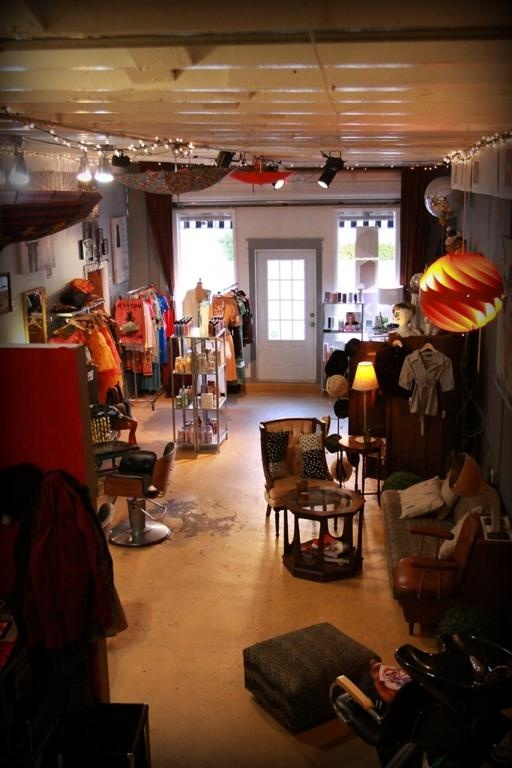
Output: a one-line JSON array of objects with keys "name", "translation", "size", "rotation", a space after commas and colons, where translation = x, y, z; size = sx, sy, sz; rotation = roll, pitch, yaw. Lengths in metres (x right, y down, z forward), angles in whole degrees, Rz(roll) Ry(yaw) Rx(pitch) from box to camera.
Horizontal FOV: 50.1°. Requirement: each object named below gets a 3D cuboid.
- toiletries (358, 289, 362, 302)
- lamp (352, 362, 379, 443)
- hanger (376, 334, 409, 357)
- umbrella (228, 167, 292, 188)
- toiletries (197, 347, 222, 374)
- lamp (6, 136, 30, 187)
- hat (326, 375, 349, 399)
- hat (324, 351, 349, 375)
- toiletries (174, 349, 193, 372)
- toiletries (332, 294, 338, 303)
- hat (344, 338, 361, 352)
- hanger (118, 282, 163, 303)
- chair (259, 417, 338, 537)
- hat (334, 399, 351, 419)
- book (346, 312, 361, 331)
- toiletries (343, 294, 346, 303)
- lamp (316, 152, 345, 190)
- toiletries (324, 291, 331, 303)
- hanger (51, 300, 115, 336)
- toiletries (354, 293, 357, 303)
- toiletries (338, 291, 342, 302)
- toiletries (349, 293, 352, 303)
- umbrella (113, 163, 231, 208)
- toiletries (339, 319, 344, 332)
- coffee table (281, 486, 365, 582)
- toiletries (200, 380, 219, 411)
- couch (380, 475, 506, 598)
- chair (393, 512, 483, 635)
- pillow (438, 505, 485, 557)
[{"name": "toiletries", "translation": [1.991, -1.675, 10.494], "size": [0.100, 0.264, 0.222], "rotation": [1, 11, 9]}, {"name": "lamp", "translation": [1.412, 0.195, 7.057], "size": [0.312, 0.979, 0.646], "rotation": [1, 11, 13]}, {"name": "hanger", "translation": [1.736, -0.501, 7.002], "size": [0.386, 0.251, 0.369], "rotation": [2, 12, 14]}, {"name": "umbrella", "translation": [0.023, -2.258, 5.859], "size": [0.655, 0.159, 0.401], "rotation": [-8, 13, -29]}, {"name": "toiletries", "translation": [-0.726, -0.356, 8.663], "size": [0.370, 0.436, 0.305], "rotation": [1, 9, 9]}, {"name": "lamp", "translation": [-2.458, -2.270, 5.628], "size": [0.167, 0.477, 0.406], "rotation": [-5, 12, -19]}, {"name": "hat", "translation": [1.114, 0.039, 7.388], "size": [0.290, 0.333, 0.243], "rotation": [-1, 11, -1]}, {"name": "hat", "translation": [1.133, -0.279, 7.741], "size": [0.315, 0.394, 0.382], "rotation": [0, 11, 7]}, {"name": "toiletries", "translation": [-1.116, -0.371, 8.740], "size": [0.282, 0.375, 0.372], "rotation": [4, 10, 22]}, {"name": "toiletries", "translation": [1.545, -1.665, 10.657], "size": [0.122, 0.186, 0.083], "rotation": [5, 13, 28]}, {"name": "hat", "translation": [1.291, -0.508, 7.343], "size": [0.208, 0.187, 0.112], "rotation": [3, 12, 19]}, {"name": "hanger", "translation": [-2.225, -1.747, 10.558], "size": [0.164, 0.309, 0.517], "rotation": [3, 34, 34]}, {"name": "chair", "translation": [0.429, 1.069, 6.619], "size": [1.057, 1.622, 1.073], "rotation": [-3, 6, -14]}, {"name": "hat", "translation": [1.203, 0.351, 7.624], "size": [0.240, 0.251, 0.064], "rotation": [-21, 13, -21]}, {"name": "book", "translation": [1.876, -1.180, 10.521], "size": [0.325, 0.363, 0.081], "rotation": [1, 0, 11]}, {"name": "toiletries", "translation": [1.707, -1.651, 10.569], "size": [0.087, 0.158, 0.029], "rotation": [1, 11, 9]}, {"name": "lamp", "translation": [0.782, -2.257, 5.763], "size": [0.209, 0.343, 0.474], "rotation": [0, 12, 5]}, {"name": "toiletries", "translation": [1.398, -1.694, 10.698], "size": [0.154, 0.318, 0.163], "rotation": [2, 3, 3]}, {"name": "hanger", "translation": [-2.573, -0.992, 8.111], "size": [0.510, 0.428, 1.129], "rotation": [2, 12, 14]}, {"name": "toiletries", "translation": [1.917, -1.659, 10.572], "size": [0.071, 0.169, 0.100], "rotation": [1, 11, 9]}, {"name": "toiletries", "translation": [1.611, -1.663, 10.605], "size": [0.087, 0.170, 0.061], "rotation": [1, 11, 10]}, {"name": "toiletries", "translation": [1.829, -1.660, 10.583], "size": [0.089, 0.169, 0.081], "rotation": [3, 12, 20]}, {"name": "umbrella", "translation": [-0.635, -1.589, 4.235], "size": [0.871, 0.205, 0.317], "rotation": [3, 12, 21]}, {"name": "toiletries", "translation": [1.655, -1.112, 10.570], "size": [0.101, 0.192, 0.147], "rotation": [0, 11, 8]}, {"name": "coffee table", "translation": [0.660, 1.479, 5.514], "size": [0.769, 0.735, 0.814], "rotation": [-3, 17, -11]}, {"name": "toiletries", "translation": [-0.746, 0.178, 8.682], "size": [0.280, 0.403, 0.357], "rotation": [-2, 11, -5]}, {"name": "couch", "translation": [1.718, 1.730, 5.415], "size": [0.785, 0.879, 1.946], "rotation": [-1, 12, 7]}, {"name": "chair", "translation": [1.579, 1.453, 4.783], "size": [0.831, 1.126, 0.816], "rotation": [2, 13, 7]}, {"name": "pillow", "translation": [1.687, 1.246, 4.569], "size": [0.110, 0.394, 0.404], "rotation": [15, -28, 6]}]
